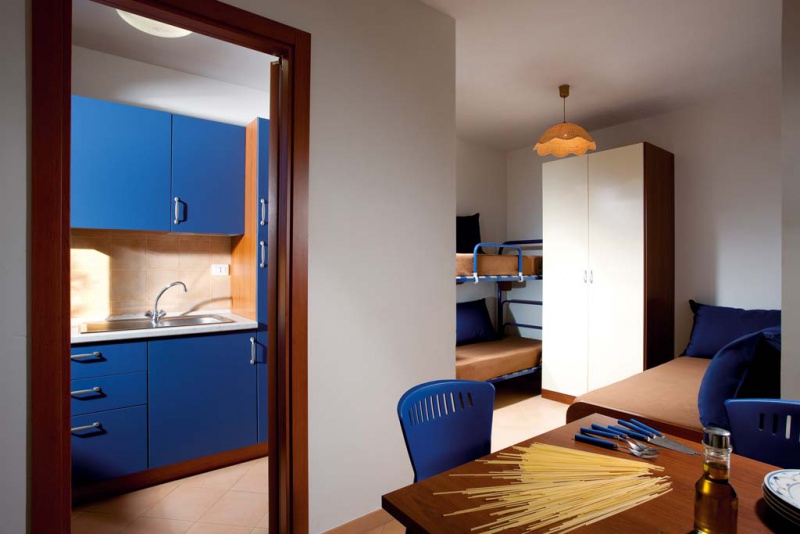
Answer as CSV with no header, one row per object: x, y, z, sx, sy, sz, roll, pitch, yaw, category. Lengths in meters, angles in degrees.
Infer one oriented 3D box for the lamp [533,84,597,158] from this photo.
1.407,-1.283,5.005,0.508,0.524,0.494,1,0,-28,lamp

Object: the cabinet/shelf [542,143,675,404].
2.102,-0.081,5.666,0.551,1.982,0.917,-1,1,-41,cabinet/shelf

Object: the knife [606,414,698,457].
1.261,0.848,2.981,0.115,0.049,0.483,-11,16,-34,knife

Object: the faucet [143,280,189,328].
-1.807,0.270,4.643,0.337,0.451,0.236,0,0,-13,faucet

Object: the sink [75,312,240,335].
-1.894,0.428,4.511,0.683,0.143,0.364,-2,3,-30,sink

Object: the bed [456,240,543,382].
1.036,0.443,6.057,0.661,1.015,1.596,-1,-2,38,bed

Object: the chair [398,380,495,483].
0.217,0.825,3.305,0.433,0.706,0.537,-6,4,-22,chair

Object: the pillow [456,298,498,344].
0.741,0.579,6.187,0.474,0.432,0.138,-1,-27,-44,pillow

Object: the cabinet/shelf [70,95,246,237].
-1.880,-0.700,4.631,1.256,0.955,0.470,2,-9,-34,cabinet/shelf
